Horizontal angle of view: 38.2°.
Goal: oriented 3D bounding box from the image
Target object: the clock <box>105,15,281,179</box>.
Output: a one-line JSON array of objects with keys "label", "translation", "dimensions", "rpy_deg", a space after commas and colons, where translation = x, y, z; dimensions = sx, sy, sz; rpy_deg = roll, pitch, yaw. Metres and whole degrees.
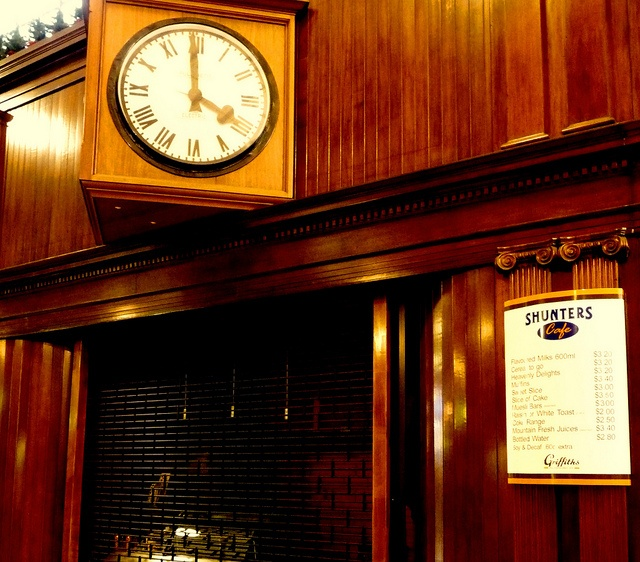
[{"label": "clock", "translation": [-0.835, -1.125, 5.831], "dimensions": [0.810, 0.942, 0.061], "rpy_deg": [8, -2, 0]}]
